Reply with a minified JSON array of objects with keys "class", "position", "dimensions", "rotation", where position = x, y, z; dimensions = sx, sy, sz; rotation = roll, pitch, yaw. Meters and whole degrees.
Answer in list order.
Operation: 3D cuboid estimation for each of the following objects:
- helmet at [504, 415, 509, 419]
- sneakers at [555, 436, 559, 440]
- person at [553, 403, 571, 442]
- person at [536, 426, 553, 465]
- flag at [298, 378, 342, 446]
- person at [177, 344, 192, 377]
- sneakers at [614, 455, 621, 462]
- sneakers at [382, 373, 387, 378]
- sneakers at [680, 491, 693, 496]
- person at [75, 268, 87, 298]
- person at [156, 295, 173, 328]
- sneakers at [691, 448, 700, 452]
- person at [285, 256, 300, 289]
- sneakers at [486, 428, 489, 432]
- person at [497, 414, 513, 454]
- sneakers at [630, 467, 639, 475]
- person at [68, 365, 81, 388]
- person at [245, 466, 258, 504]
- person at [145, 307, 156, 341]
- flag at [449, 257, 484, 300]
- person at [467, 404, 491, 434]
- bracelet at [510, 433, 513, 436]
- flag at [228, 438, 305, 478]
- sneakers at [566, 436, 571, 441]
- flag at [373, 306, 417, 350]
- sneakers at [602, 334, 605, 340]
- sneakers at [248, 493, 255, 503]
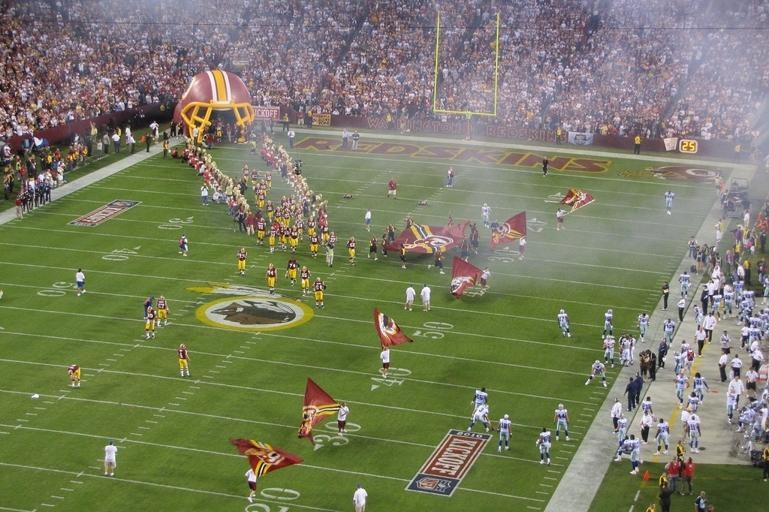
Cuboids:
[{"class":"helmet","position":[4.621,6.164,47.126],"dimensions":[0.224,0.137,0.257],"rotation":[-4,6,12]},{"class":"sneakers","position":[6.641,7.055,47.785],"dimensions":[0.124,0.139,0.352],"rotation":[0,7,5]},{"class":"person","position":[6.854,6.242,48.057],"dimensions":[0.572,1.339,1.429],"rotation":[2,23,7]},{"class":"person","position":[6.028,7.003,46.853],"dimensions":[0.606,1.312,1.334],"rotation":[2,23,6]},{"class":"flag","position":[-2.596,6.185,47.959],"dimensions":[2.496,1.961,0.650],"rotation":[-20,43,4]},{"class":"person","position":[-8.474,4.134,51.447],"dimensions":[0.531,1.221,1.662],"rotation":[-5,23,-10]},{"class":"sneakers","position":[8.817,7.704,46.831],"dimensions":[0.281,0.237,0.134],"rotation":[6,14,24]},{"class":"sneakers","position":[-0.038,4.931,51.136],"dimensions":[0.161,0.073,0.198],"rotation":[-2,53,-1]},{"class":"sneakers","position":[10.968,8.693,45.064],"dimensions":[0.450,0.166,0.134],"rotation":[-3,22,26]},{"class":"person","position":[-14.271,0.998,57.334],"dimensions":[0.513,1.162,1.597],"rotation":[-7,23,-14]},{"class":"person","position":[-9.978,2.257,54.852],"dimensions":[0.603,1.279,1.442],"rotation":[-5,23,-9]},{"class":"sneakers","position":[11.827,7.439,47.216],"dimensions":[0.126,0.143,0.359],"rotation":[-9,6,-33]},{"class":"person","position":[-4.458,0.638,58.615],"dimensions":[0.625,1.246,1.265],"rotation":[-3,23,-5]},{"class":"sneakers","position":[3.984,6.818,48.331],"dimensions":[0.149,0.070,0.197],"rotation":[1,9,6]},{"class":"person","position":[4.581,6.659,47.342],"dimensions":[0.493,1.348,1.093],"rotation":[2,23,5]},{"class":"sneakers","position":[9.339,8.043,46.139],"dimensions":[0.164,0.243,0.361],"rotation":[-3,12,-16]},{"class":"person","position":[-12.712,4.833,50.291],"dimensions":[0.601,0.412,0.860],"rotation":[-5,49,-19]},{"class":"person","position":[-4.902,8.193,44.849],"dimensions":[0.414,1.100,1.123],"rotation":[-4,23,-8]},{"class":"person","position":[-10.298,2.809,53.644],"dimensions":[0.470,1.330,0.862],"rotation":[-5,24,-9]},{"class":"flag","position":[3.745,1.154,57.907],"dimensions":[1.755,0.316,1.765],"rotation":[18,61,-3]},{"class":"person","position":[3.671,6.270,48.131],"dimensions":[0.853,0.419,1.185],"rotation":[2,31,8]},{"class":"bracelet","position":[4.838,6.899,47.698],"dimensions":[0.178,0.052,0.235],"rotation":[0,8,4]},{"class":"flag","position":[-4.498,7.540,45.598],"dimensions":[2.251,1.840,0.569],"rotation":[11,71,23]},{"class":"sneakers","position":[7.040,7.040,47.720],"dimensions":[0.189,0.095,0.213],"rotation":[-1,22,-1]},{"class":"flag","position":[0.362,3.186,53.083],"dimensions":[1.925,1.765,0.266],"rotation":[-5,-17,-37]},{"class":"sneakers","position":[9.529,3.560,54.062],"dimensions":[0.208,0.213,0.534],"rotation":[0,4,12]},{"class":"sneakers","position":[-4.897,8.761,44.712],"dimensions":[0.249,0.148,0.420],"rotation":[-3,22,-7]}]
